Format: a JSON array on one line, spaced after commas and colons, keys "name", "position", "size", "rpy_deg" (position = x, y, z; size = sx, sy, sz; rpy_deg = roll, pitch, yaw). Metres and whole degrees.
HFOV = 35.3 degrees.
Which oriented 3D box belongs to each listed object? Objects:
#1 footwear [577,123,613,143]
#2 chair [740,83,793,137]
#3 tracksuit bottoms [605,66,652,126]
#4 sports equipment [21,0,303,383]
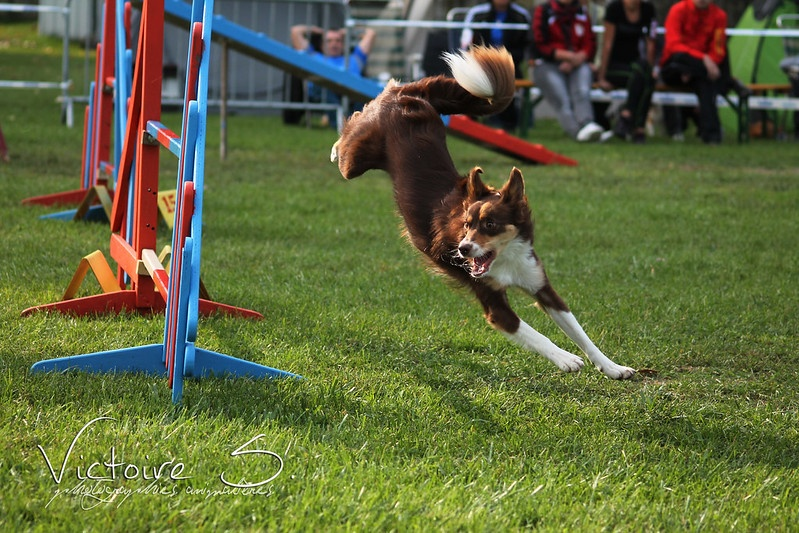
[{"name": "footwear", "position": [2.521, -1.677, 16.205], "size": [0.185, 0.233, 0.543], "rpy_deg": [-2, -2, -9]}, {"name": "chair", "position": [2.887, -1.203, 9.872], "size": [0.352, 0.412, 0.385], "rpy_deg": [2, 9, 24]}, {"name": "tracksuit bottoms", "position": [2.249, -1.584, 11.791], "size": [0.561, 0.335, 1.309], "rpy_deg": [0, 16, 0]}, {"name": "sports equipment", "position": [-2.279, -0.701, 11.735], "size": [1.999, 2.621, 3.688], "rpy_deg": [3, 26, -20]}]
